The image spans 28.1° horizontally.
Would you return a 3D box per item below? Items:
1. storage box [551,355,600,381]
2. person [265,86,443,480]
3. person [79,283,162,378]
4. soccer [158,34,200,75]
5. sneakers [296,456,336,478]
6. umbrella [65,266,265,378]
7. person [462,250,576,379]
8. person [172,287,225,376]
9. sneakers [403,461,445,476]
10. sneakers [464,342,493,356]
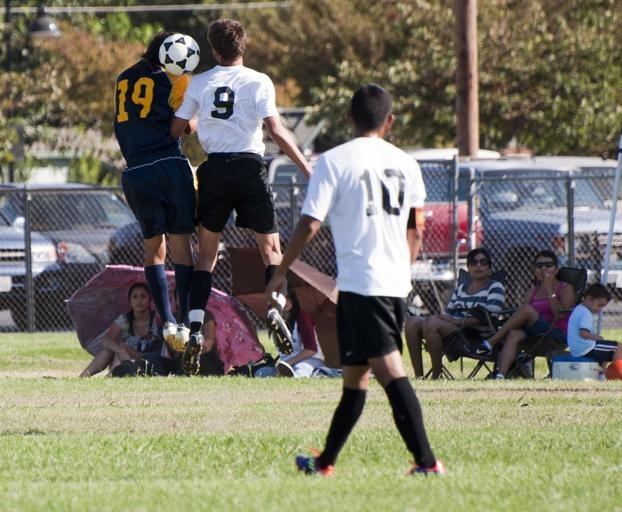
[{"bbox_3d":[2.843,1.186,13.331,0.541,0.250,0.374,-1,2,13],"label":"storage box"},{"bbox_3d":[0.405,0.154,9.224,1.067,2.903,0.619,-1,2,0],"label":"person"},{"bbox_3d":[-2.166,0.842,14.226,0.674,0.421,0.981,4,34,7],"label":"person"},{"bbox_3d":[-1.203,-1.892,11.806,0.347,0.386,0.365,3,-6,17],"label":"soccer"},{"bbox_3d":[0.012,1.549,9.311,0.310,0.144,0.114,18,13,28],"label":"sneakers"},{"bbox_3d":[-1.825,0.700,14.555,1.503,0.618,1.530,29,-21,-14],"label":"umbrella"},{"bbox_3d":[2.409,0.619,13.627,1.118,1.321,0.605,-2,2,-35],"label":"person"},{"bbox_3d":[-1.179,0.984,13.900,0.367,1.201,0.810,1,24,-6],"label":"person"},{"bbox_3d":[0.836,1.524,9.032,0.252,0.119,0.098,4,-4,2],"label":"sneakers"},{"bbox_3d":[1.836,1.000,13.579,0.341,0.149,0.121,-2,-4,9],"label":"sneakers"}]
